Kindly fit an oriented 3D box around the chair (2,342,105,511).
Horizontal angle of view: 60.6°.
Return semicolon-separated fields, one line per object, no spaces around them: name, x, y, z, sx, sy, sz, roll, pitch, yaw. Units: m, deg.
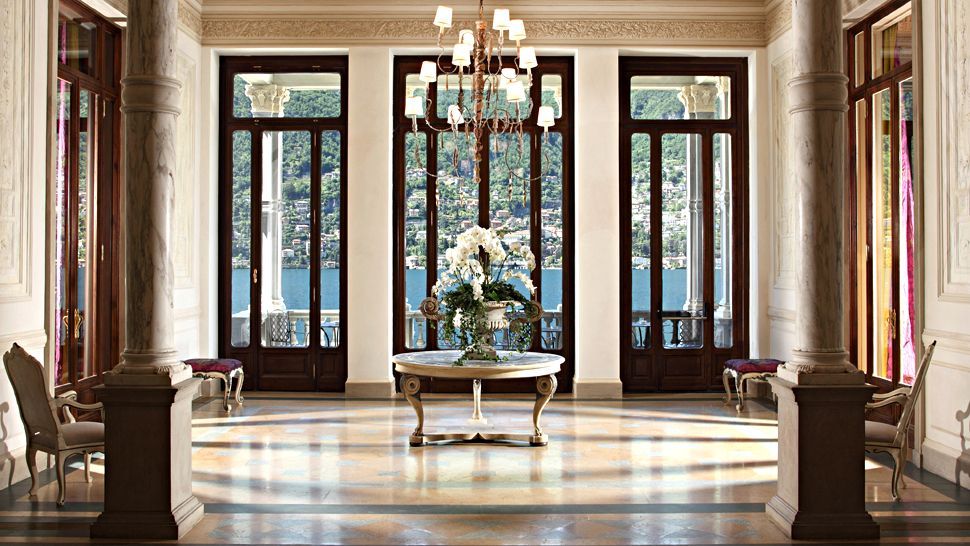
chair;-4.589;1.580;8.789;0.958;1.641;0.667;-3;10;-16

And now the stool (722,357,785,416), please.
stool;3.892;1.568;11.893;0.797;0.612;0.734;-2;0;-2

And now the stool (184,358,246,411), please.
stool;-3.932;1.557;11.920;0.799;0.593;0.744;2;-1;7
